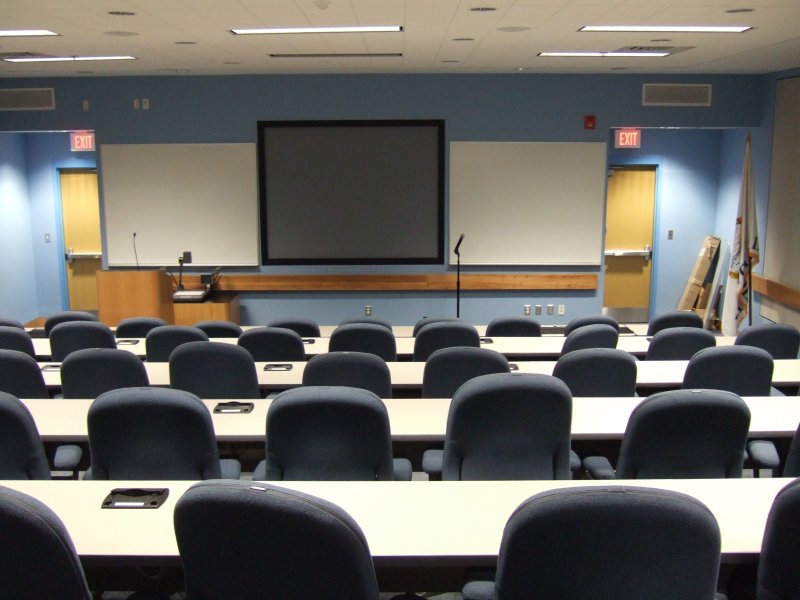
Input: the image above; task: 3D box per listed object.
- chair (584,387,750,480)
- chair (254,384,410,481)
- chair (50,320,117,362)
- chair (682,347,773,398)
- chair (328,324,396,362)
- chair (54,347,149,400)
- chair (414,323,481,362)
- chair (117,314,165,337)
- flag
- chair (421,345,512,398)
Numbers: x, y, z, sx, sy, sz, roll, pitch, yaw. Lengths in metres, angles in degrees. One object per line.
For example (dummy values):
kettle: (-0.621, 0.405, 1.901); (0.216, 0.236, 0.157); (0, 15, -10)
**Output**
chair: (1.279, 0.616, 3.205); (0.566, 0.427, 0.188); (0, 4, 1)
chair: (-0.309, 0.617, 3.207); (0.443, 0.535, 0.478); (1, 9, 1)
chair: (-2.382, 0.271, 5.499); (0.295, 0.451, 0.356); (1, 12, -5)
chair: (1.956, 0.377, 4.362); (0.328, 0.482, 0.381); (-1, 12, 5)
chair: (-0.258, 0.296, 5.214); (0.372, 0.283, 0.260); (-1, 8, -3)
chair: (-1.713, 0.360, 4.203); (0.315, 0.459, 0.376); (1, 12, -3)
chair: (0.316, 0.280, 5.283); (0.398, 0.304, 0.278); (-1, 11, 4)
chair: (-2.243, 0.230, 6.104); (0.295, 0.155, 0.213); (-1, 13, -13)
flag: (4.306, -0.774, 9.095); (0.297, 2.561, 1.405); (1, 5, 16)
chair: (0.349, 0.401, 4.181); (0.513, 0.395, 0.284); (0, 10, 5)
